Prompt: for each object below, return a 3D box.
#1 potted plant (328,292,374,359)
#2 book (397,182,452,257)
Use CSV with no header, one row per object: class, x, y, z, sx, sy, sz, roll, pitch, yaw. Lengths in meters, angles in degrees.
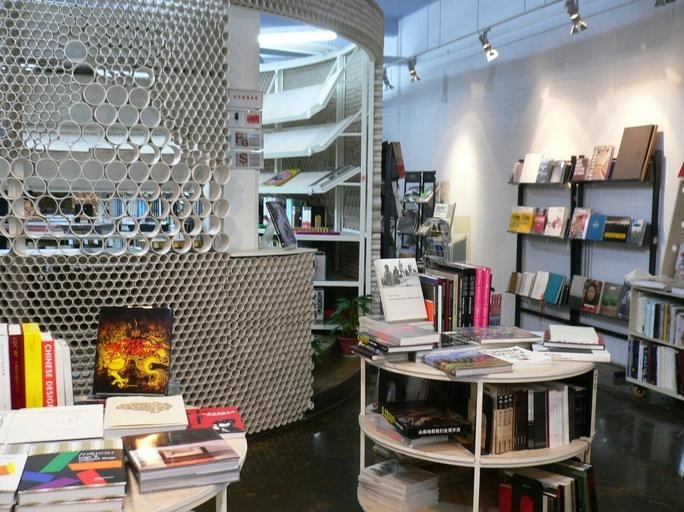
potted plant,0.090,0.769,6.946,0.598,0.754,0.589,1,7,5
book,1.221,-0.528,9.012,0.504,0.614,1.061,6,-1,10
